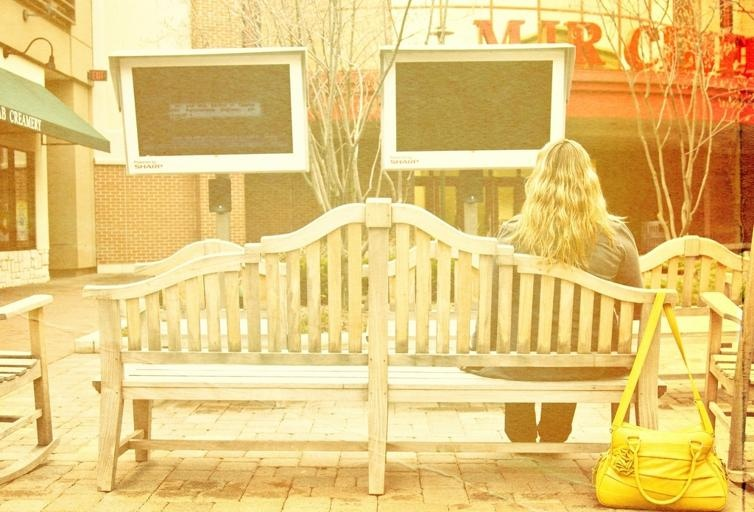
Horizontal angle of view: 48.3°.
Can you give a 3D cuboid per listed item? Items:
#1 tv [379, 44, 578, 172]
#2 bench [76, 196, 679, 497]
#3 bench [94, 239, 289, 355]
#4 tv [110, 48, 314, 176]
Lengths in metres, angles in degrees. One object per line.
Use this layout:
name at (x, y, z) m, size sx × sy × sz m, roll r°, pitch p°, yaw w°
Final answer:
tv at (0.985, -1.465, 8.339) m, size 2.163 × 1.002 × 0.303 m, roll 0°, pitch -5°, yaw 3°
bench at (0.069, 0.852, 7.075) m, size 4.187 × 1.490 × 1.250 m, roll 0°, pitch 3°, yaw 1°
bench at (-1.668, 0.250, 8.322) m, size 2.004 × 0.590 × 1.714 m, roll 0°, pitch -2°, yaw -22°
tv at (-1.667, -1.487, 8.638) m, size 1.973 × 0.909 × 0.590 m, roll -1°, pitch 0°, yaw 2°
